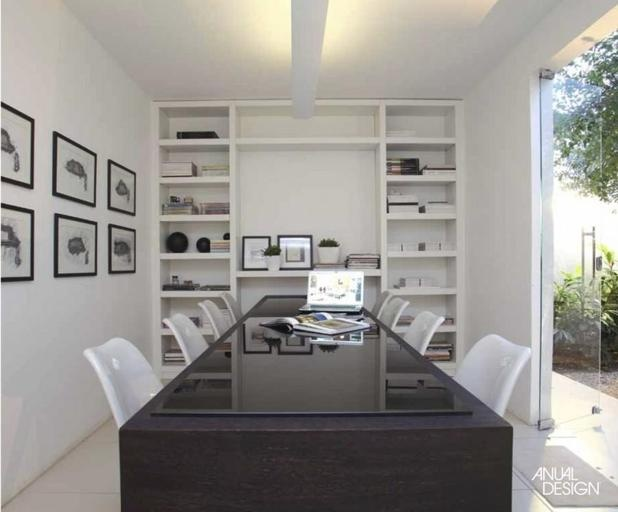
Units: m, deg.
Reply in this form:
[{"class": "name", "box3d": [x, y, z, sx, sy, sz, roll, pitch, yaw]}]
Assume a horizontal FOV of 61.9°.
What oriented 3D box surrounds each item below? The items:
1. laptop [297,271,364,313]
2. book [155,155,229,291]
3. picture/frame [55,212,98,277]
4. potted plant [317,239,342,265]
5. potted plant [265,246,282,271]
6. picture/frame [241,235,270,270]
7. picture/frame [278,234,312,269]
[{"class": "laptop", "box3d": [0.184, 0.244, 3.793, 0.431, 0.317, 0.344, 1, -2, 4]}, {"class": "book", "box3d": [-1.220, -0.380, 5.569, 0.735, 1.432, 0.734, -1, 14, -12]}, {"class": "picture/frame", "box3d": [-1.726, -0.082, 3.876, 0.425, 0.412, 0.019, 7, 7, 23]}, {"class": "potted plant", "box3d": [0.215, -0.041, 5.508, 0.233, 0.309, 0.243, 0, 1, -6]}, {"class": "potted plant", "box3d": [-0.364, 0.018, 5.411, 0.199, 0.294, 0.211, 0, -2, -3]}, {"class": "picture/frame", "box3d": [-0.559, -0.038, 5.613, 0.298, 0.407, 0.020, -1, -29, -5]}, {"class": "picture/frame", "box3d": [-0.151, -0.035, 5.649, 0.309, 0.343, 0.026, -1, -11, -2]}]
